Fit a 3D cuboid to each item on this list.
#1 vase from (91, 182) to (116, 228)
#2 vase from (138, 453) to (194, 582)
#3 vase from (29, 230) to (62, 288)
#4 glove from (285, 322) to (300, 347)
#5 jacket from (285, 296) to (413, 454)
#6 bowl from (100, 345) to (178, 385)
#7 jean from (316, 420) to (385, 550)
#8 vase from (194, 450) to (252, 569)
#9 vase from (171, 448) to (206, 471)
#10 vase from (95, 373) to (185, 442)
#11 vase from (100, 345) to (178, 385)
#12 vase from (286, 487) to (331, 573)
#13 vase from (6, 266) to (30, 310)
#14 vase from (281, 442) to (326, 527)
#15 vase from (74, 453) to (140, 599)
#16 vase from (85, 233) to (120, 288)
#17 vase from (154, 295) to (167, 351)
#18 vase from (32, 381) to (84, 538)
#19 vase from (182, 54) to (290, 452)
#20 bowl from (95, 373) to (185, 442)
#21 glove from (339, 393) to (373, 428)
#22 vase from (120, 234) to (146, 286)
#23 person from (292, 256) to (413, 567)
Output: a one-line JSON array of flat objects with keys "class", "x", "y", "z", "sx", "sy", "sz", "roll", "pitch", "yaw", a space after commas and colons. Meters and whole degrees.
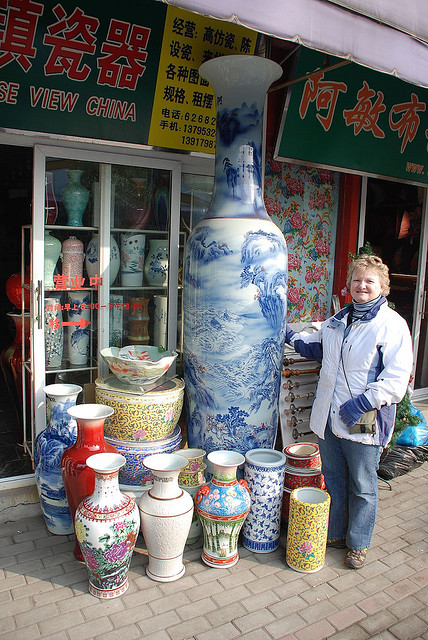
[{"class": "vase", "x": -0.671, "y": -0.694, "z": 2.964, "sx": 0.174, "sy": 0.284, "sz": 0.169, "roll": 4, "pitch": 19, "yaw": -6}, {"class": "vase", "x": -0.218, "y": 0.888, "z": 2.213, "sx": 0.237, "sy": 0.510, "sz": 0.252, "roll": -1, "pitch": 5, "yaw": -41}, {"class": "vase", "x": -0.910, "y": -0.338, "z": 2.762, "sx": 0.049, "sy": 0.319, "sz": 0.118, "roll": 4, "pitch": 4, "yaw": 25}, {"class": "glove", "x": 0.446, "y": 0.105, "z": 2.909, "sx": 0.079, "sy": 0.101, "sz": 0.100, "roll": 2, "pitch": 1, "yaw": 0}, {"class": "jacket", "x": 0.685, "y": 0.255, "z": 2.346, "sx": 0.459, "sy": 0.722, "sz": 0.326, "roll": 4, "pitch": 4, "yaw": 23}, {"class": "bowl", "x": -0.452, "y": 0.248, "z": 2.684, "sx": 0.374, "sy": 0.142, "sz": 0.369, "roll": 2, "pitch": 10, "yaw": 0}, {"class": "jean", "x": 0.658, "y": 0.717, "z": 2.438, "sx": 0.269, "sy": 0.898, "sz": 0.238, "roll": 3, "pitch": 11, "yaw": 21}, {"class": "vase", "x": 0.054, "y": 0.909, "z": 2.364, "sx": 0.252, "sy": 0.493, "sz": 0.293, "roll": 4, "pitch": 4, "yaw": 24}, {"class": "vase", "x": -0.122, "y": 0.703, "z": 2.545, "sx": 0.126, "sy": 0.090, "sz": 0.123, "roll": 2, "pitch": -2, "yaw": -36}, {"class": "vase", "x": -0.414, "y": 0.475, "z": 2.711, "sx": 0.502, "sy": 0.274, "sz": 0.473, "roll": 3, "pitch": 7, "yaw": -12}, {"class": "vase", "x": -0.420, "y": 0.252, "z": 2.713, "sx": 0.445, "sy": 0.168, "sz": 0.437, "roll": 3, "pitch": 7, "yaw": 13}, {"class": "vase", "x": 0.428, "y": 1.007, "z": 2.337, "sx": 0.196, "sy": 0.306, "sz": 0.187, "roll": 10, "pitch": -11, "yaw": -2}, {"class": "vase", "x": -1.312, "y": -0.217, "z": 3.310, "sx": 0.134, "sy": 0.305, "sz": 0.583, "roll": 1, "pitch": 4, "yaw": -22}, {"class": "vase", "x": 0.483, "y": 0.849, "z": 2.697, "sx": 0.368, "sy": 0.374, "sz": 0.400, "roll": 1, "pitch": 3, "yaw": 14}, {"class": "vase", "x": -0.432, "y": 0.867, "z": 2.016, "sx": 0.246, "sy": 0.555, "sz": 0.188, "roll": 1, "pitch": 4, "yaw": -19}, {"class": "vase", "x": -0.674, "y": -0.360, "z": 3.010, "sx": 0.216, "sy": 0.337, "sz": 0.205, "roll": 4, "pitch": 9, "yaw": -1}, {"class": "vase", "x": -0.328, "y": 0.060, "z": 3.187, "sx": 0.083, "sy": 0.305, "sz": 0.075, "roll": -5, "pitch": -3, "yaw": 15}, {"class": "vase", "x": -0.757, "y": 0.735, "z": 2.559, "sx": 0.324, "sy": 0.811, "sz": 0.316, "roll": 2, "pitch": 11, "yaw": 0}, {"class": "vase", "x": 0.131, "y": -0.283, "z": 2.633, "sx": 0.558, "sy": 2.044, "sz": 0.339, "roll": 2, "pitch": 4, "yaw": -4}, {"class": "bowl", "x": -0.404, "y": 0.475, "z": 2.730, "sx": 0.492, "sy": 0.286, "sz": 0.526, "roll": 3, "pitch": 6, "yaw": 0}, {"class": "glove", "x": 0.632, "y": 0.406, "z": 2.209, "sx": 0.058, "sy": 0.109, "sz": 0.163, "roll": 4, "pitch": -33, "yaw": -44}, {"class": "vase", "x": -0.517, "y": -0.380, "z": 3.125, "sx": 0.186, "sy": 0.356, "sz": 0.190, "roll": 2, "pitch": 4, "yaw": 34}, {"class": "person", "x": 0.704, "y": 0.436, "z": 2.397, "sx": 0.365, "sy": 1.473, "sz": 0.469, "roll": 2, "pitch": 4, "yaw": -8}]
